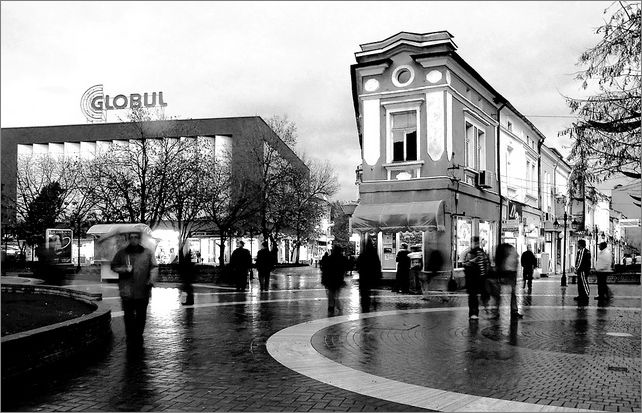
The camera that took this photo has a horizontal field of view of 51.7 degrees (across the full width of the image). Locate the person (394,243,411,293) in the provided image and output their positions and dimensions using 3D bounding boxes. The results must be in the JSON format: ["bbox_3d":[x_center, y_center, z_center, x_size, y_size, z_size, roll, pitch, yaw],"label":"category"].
[{"bbox_3d":[3.366,2.554,27.103,0.541,2.090,0.956,1,3,5],"label":"person"}]

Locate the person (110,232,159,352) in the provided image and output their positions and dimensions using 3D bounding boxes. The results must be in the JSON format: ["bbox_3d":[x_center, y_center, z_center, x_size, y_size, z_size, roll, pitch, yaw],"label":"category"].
[{"bbox_3d":[-4.398,1.959,15.619,0.979,2.624,0.458,0,3,-20],"label":"person"}]
